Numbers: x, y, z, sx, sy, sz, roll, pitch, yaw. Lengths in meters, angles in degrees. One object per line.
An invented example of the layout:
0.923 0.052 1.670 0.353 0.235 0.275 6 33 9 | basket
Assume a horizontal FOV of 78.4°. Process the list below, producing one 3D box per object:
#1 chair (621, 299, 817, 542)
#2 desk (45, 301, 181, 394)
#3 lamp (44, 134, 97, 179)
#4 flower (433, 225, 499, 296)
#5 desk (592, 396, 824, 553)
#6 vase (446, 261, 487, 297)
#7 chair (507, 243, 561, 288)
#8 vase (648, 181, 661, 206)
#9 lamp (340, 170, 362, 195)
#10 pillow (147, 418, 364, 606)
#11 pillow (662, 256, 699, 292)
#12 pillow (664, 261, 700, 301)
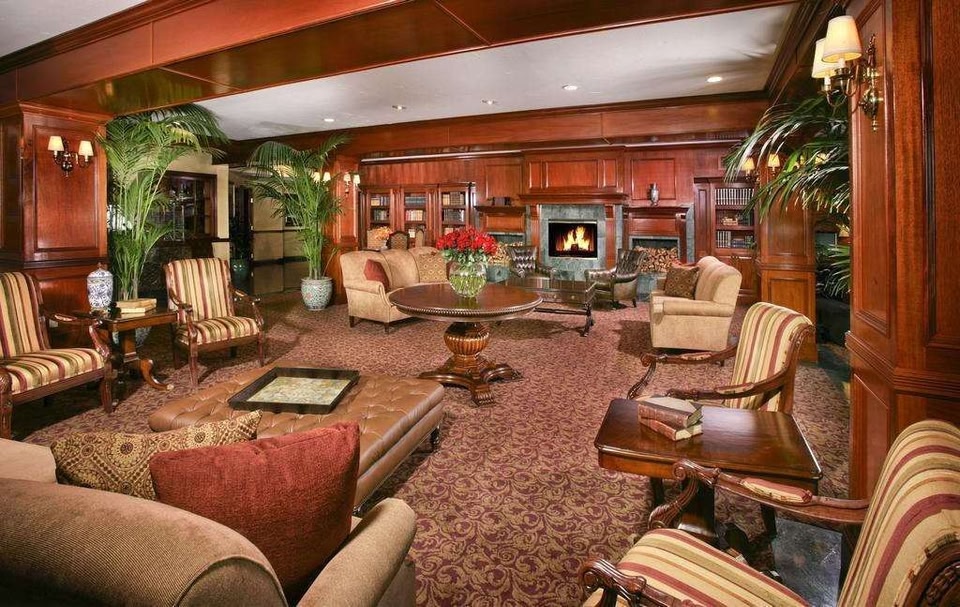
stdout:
1.829 0.632 4.076 1.403 1.726 1.254 0 1 1 | chair
-3.629 0.306 5.766 0.991 0.879 0.975 6 11 27 | desk
-4.170 -1.486 5.958 0.194 0.326 0.407 -7 -4 42 | lamp
-0.116 -0.466 6.253 0.696 0.698 0.716 1 6 27 | flower
1.285 1.090 3.475 1.184 0.743 0.905 3 10 23 | desk
-0.122 -0.261 6.134 0.371 0.467 0.361 0 1 -3 | vase
0.955 -0.658 10.031 0.765 0.868 0.804 -2 5 -22 | chair
3.055 -1.935 10.351 0.218 0.377 0.212 3 11 26 | vase
-2.257 -2.144 10.387 0.395 0.461 0.387 0 5 -23 | lamp
-0.937 0.878 2.442 0.700 0.671 0.370 -12 15 -35 | pillow
2.835 -0.426 8.224 0.181 0.547 0.589 20 -2 -19 | pillow
2.678 -0.299 7.534 0.148 0.453 0.490 19 -4 -18 | pillow
